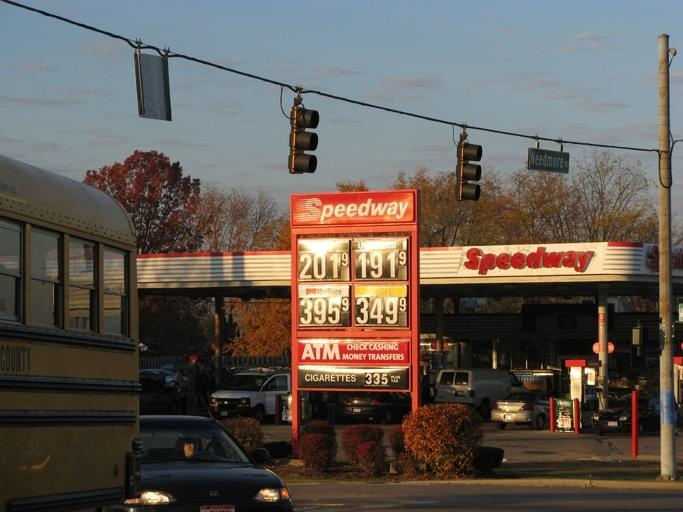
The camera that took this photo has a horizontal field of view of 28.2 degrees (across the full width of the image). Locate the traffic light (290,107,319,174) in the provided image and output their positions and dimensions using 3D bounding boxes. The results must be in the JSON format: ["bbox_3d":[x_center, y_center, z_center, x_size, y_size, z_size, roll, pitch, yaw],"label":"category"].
[{"bbox_3d":[-0.724,-2.224,26.518,0.545,1.275,0.548,0,1,-4],"label":"traffic light"}]

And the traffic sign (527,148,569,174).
[{"bbox_3d":[4.642,-2.091,30.440,0.799,0.503,1.003,0,0,15],"label":"traffic sign"}]

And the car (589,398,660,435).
[{"bbox_3d":[9.236,5.074,43.063,2.042,0.697,1.029,5,-8,-28],"label":"car"}]
